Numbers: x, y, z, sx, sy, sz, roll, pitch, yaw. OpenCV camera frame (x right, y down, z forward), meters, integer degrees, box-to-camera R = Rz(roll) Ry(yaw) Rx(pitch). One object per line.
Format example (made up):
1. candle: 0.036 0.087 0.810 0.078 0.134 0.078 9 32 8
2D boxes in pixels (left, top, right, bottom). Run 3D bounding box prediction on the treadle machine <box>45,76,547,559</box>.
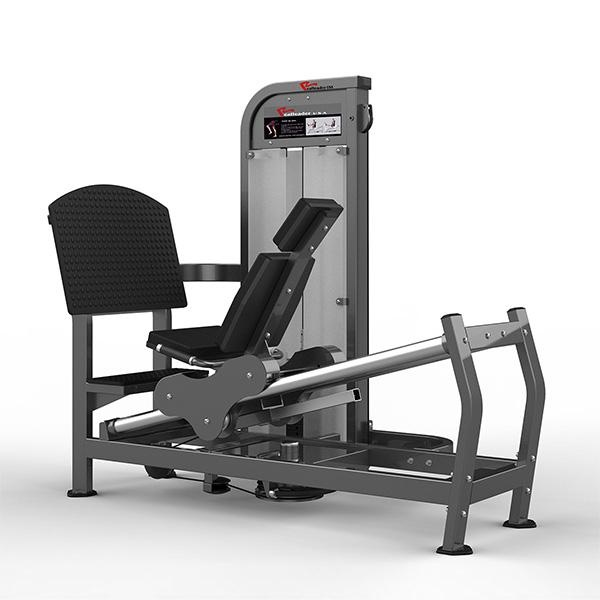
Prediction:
1. treadle machine: 0.101 -0.053 4.264 3.004 2.360 1.933 1 1 28
